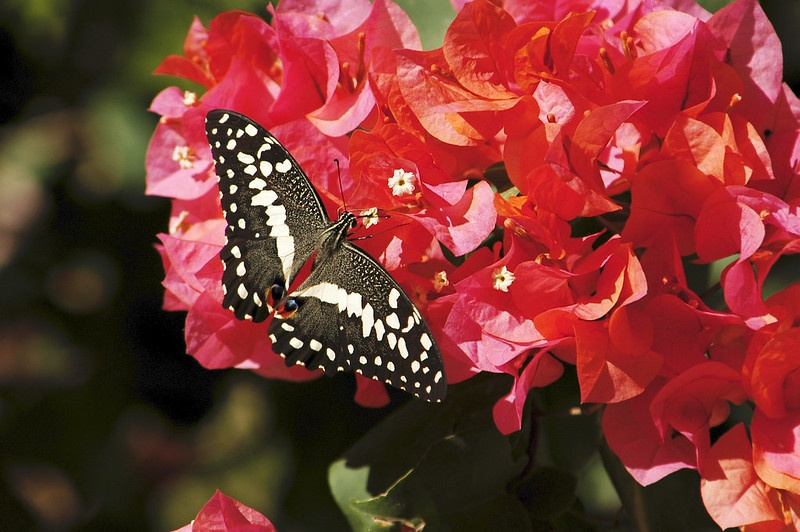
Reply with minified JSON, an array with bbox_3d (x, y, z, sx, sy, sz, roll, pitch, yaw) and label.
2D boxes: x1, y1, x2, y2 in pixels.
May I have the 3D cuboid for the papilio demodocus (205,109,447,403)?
[{"bbox_3d":[-0.109,-0.004,1.240,0.208,0.099,0.412,-24,86,-45],"label":"papilio demodocus"}]
